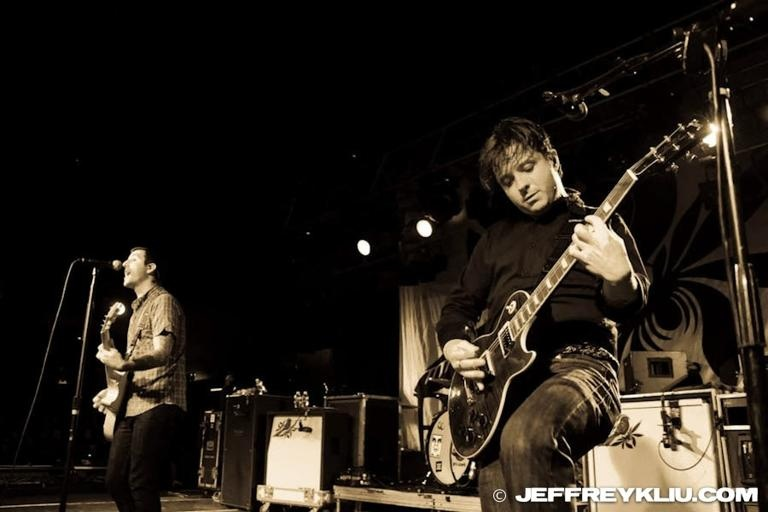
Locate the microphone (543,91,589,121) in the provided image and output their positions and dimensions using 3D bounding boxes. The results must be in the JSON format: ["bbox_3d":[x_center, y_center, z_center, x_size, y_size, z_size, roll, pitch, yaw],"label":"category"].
[{"bbox_3d":[1.355,-1.099,4.708,0.175,0.178,0.324,-28,-20,36],"label":"microphone"}]

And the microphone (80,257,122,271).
[{"bbox_3d":[-3.703,0.102,8.420,0.549,0.179,0.156,1,-45,-7],"label":"microphone"}]

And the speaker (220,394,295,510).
[{"bbox_3d":[-2.071,2.984,9.807,1.059,1.657,0.589,-18,-30,35],"label":"speaker"}]
